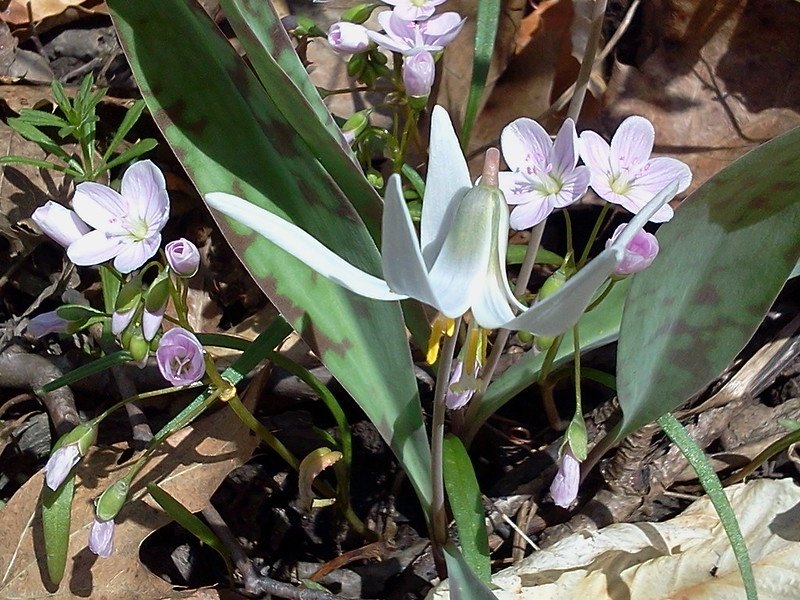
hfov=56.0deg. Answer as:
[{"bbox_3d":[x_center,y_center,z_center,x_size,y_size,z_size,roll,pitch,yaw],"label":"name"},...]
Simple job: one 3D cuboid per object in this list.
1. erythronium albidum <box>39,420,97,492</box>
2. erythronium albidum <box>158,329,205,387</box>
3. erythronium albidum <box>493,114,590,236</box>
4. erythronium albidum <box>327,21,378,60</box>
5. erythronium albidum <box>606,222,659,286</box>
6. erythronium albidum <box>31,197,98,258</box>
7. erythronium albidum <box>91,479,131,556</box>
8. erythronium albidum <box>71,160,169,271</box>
[{"bbox_3d":[-0.849,0.393,1.967,0.089,0.058,0.217,29,48,-3],"label":"erythronium albidum"},{"bbox_3d":[-0.568,0.169,1.886,0.067,0.102,0.124,-11,35,25],"label":"erythronium albidum"},{"bbox_3d":[0.376,-0.313,1.890,0.248,0.155,0.281,3,79,36],"label":"erythronium albidum"},{"bbox_3d":[-0.149,-0.775,2.254,0.134,0.133,0.104,11,50,5],"label":"erythronium albidum"},{"bbox_3d":[0.527,-0.096,1.703,0.109,0.121,0.108,32,38,0],"label":"erythronium albidum"},{"bbox_3d":[-0.886,-0.190,2.009,0.167,0.065,0.094,41,64,-23],"label":"erythronium albidum"},{"bbox_3d":[-0.756,0.567,1.979,0.084,0.231,0.057,13,17,-3],"label":"erythronium albidum"},{"bbox_3d":[-0.722,-0.211,1.906,0.227,0.171,0.252,-1,50,-5],"label":"erythronium albidum"}]
